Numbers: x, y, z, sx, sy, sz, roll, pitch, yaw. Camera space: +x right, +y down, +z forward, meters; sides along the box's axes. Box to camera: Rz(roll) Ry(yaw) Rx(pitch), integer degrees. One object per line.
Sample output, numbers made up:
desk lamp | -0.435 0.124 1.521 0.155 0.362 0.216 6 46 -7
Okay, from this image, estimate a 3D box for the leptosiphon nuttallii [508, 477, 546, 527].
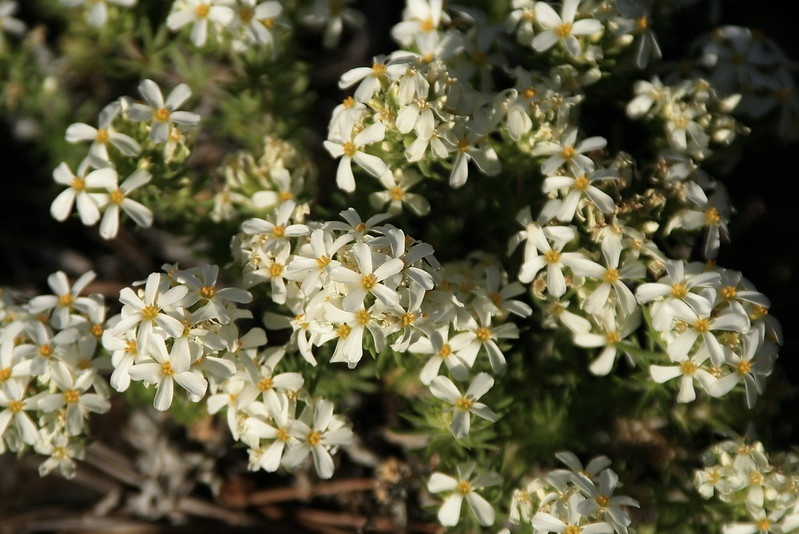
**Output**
leptosiphon nuttallii | 0.636 1.160 5.836 0.197 0.085 0.208 -10 56 13
